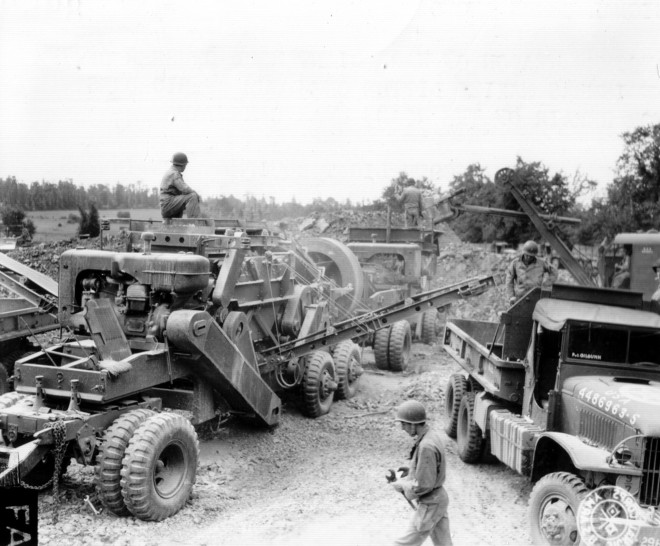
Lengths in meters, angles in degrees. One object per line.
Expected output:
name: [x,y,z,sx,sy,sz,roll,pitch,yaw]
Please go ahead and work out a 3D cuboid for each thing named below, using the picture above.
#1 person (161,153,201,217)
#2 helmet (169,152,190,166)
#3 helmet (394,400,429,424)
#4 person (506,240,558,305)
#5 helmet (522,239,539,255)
person: [-2.799,-1.422,11.783,0.660,1.608,0.743,-6,5,-43]
helmet: [-2.720,-2.031,11.429,0.279,0.277,0.490,0,2,-21]
helmet: [0.754,1.404,6.091,0.293,0.197,0.237,6,9,40]
person: [3.472,0.109,11.049,0.745,1.461,0.644,2,33,20]
helmet: [3.432,-0.435,10.847,0.209,0.371,0.309,7,13,14]
